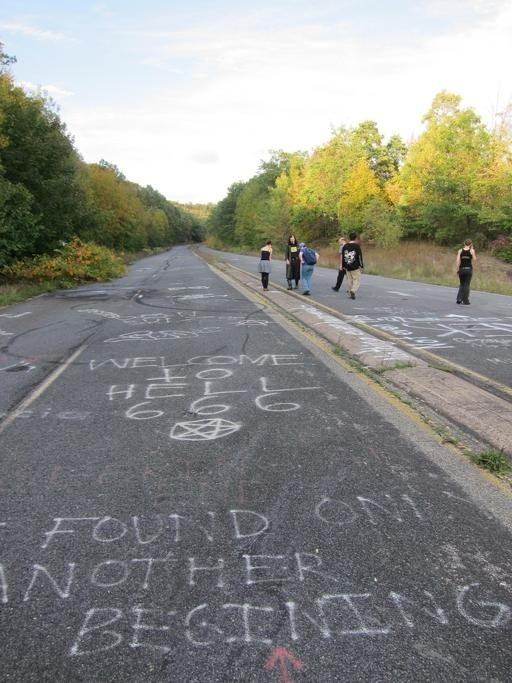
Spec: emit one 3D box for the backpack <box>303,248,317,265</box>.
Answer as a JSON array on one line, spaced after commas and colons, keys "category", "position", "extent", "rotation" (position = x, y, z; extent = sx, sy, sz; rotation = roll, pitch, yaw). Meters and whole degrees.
[{"category": "backpack", "position": [1.423, -2.297, 15.525], "extent": [0.382, 0.493, 0.640], "rotation": [0, 11, 6]}]
